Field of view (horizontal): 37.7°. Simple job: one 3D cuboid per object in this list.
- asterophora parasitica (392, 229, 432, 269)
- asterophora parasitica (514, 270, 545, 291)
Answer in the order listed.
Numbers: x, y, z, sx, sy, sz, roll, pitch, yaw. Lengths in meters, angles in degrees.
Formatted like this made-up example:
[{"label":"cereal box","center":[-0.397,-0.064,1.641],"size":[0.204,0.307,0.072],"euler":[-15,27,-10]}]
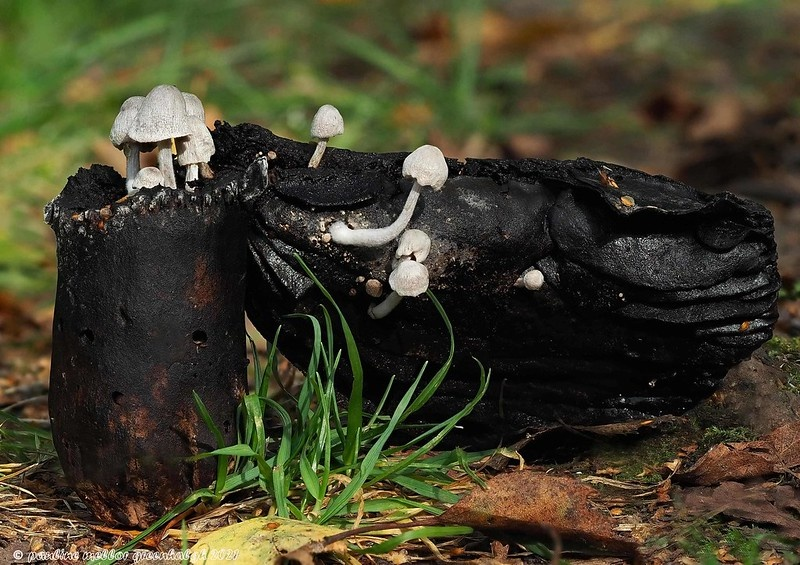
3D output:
[{"label":"asterophora parasitica","center":[0.045,-0.166,5.620],"size":[0.175,0.191,0.082],"euler":[37,3,12]},{"label":"asterophora parasitica","center":[0.633,-0.008,5.749],"size":[0.119,0.106,0.075],"euler":[15,28,29]}]
